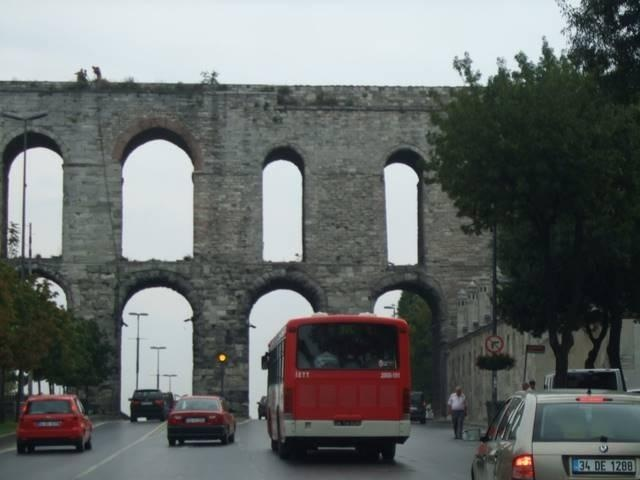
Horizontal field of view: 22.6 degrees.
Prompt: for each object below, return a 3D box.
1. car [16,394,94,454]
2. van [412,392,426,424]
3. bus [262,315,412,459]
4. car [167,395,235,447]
[{"bbox_3d":[-9.438,6.623,57.206,2.300,2.257,4.546,-1,-9,-4],"label":"car"},{"bbox_3d":[4.916,8.118,79.273,0.718,1.528,1.850,-1,-6,3],"label":"van"},{"bbox_3d":[0.628,5.296,55.673,4.573,5.125,10.405,2,-8,-7],"label":"bus"},{"bbox_3d":[-4.375,6.476,58.725,2.682,2.733,7.422,0,-5,-4],"label":"car"}]
